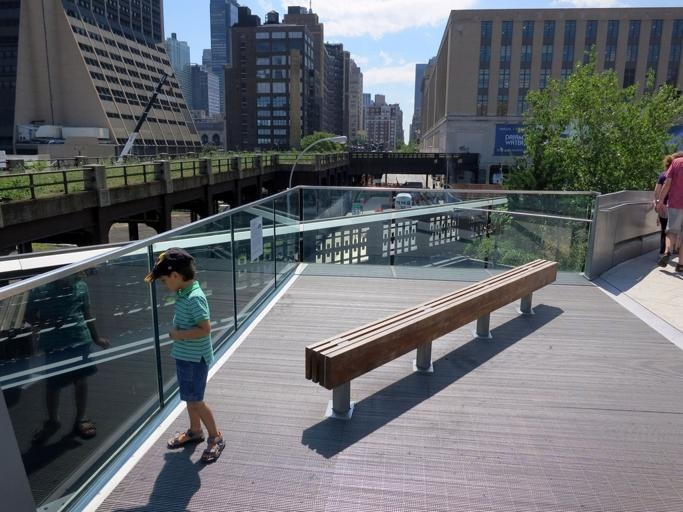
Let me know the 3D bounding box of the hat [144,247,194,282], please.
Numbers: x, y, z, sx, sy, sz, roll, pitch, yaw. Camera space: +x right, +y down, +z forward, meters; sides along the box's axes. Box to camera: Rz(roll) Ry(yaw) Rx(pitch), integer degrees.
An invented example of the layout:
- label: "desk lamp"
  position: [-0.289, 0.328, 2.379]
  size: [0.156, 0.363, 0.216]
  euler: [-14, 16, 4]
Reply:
- label: "hat"
  position: [-1.549, 0.063, 4.949]
  size: [0.468, 0.231, 0.284]
  euler: [-13, 15, 0]

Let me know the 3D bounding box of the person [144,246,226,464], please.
- label: "person"
  position: [-1.429, 0.895, 5.036]
  size: [0.558, 1.919, 0.618]
  euler: [-6, 15, -19]

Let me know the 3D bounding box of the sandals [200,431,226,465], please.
- label: "sandals"
  position: [-1.185, 1.786, 5.090]
  size: [0.111, 0.123, 0.309]
  euler: [-3, -2, 6]

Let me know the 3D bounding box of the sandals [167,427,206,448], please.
- label: "sandals"
  position: [-1.514, 1.750, 5.303]
  size: [0.294, 0.113, 0.141]
  euler: [3, -6, -16]
